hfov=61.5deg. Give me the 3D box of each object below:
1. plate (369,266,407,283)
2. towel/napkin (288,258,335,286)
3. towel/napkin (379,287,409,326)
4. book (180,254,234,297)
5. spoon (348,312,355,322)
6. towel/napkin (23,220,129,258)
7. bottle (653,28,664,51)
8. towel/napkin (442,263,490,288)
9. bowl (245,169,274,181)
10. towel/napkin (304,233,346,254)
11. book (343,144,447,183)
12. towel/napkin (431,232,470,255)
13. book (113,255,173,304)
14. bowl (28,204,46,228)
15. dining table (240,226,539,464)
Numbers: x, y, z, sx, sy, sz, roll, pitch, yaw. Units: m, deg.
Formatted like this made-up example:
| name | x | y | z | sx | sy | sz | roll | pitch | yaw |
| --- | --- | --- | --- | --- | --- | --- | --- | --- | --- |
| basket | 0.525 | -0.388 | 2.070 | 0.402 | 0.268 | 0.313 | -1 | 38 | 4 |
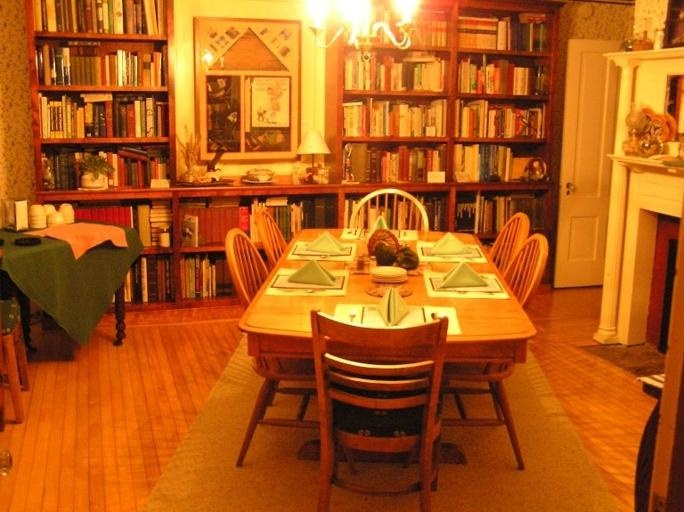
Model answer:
| name | x | y | z | sx | sy | sz | roll | pitch | yaw |
| --- | --- | --- | --- | --- | --- | --- | --- | --- | --- |
| plate | 0.239 | 0.092 | 2.843 | 0.111 | 0.030 | 0.105 | -7 | 17 | -29 |
| towel/napkin | -0.151 | 0.072 | 2.764 | 0.171 | 0.072 | 0.129 | -2 | 10 | 0 |
| towel/napkin | 0.216 | 0.194 | 2.346 | 0.093 | 0.135 | 0.179 | -1 | 15 | 23 |
| book | -1.182 | 0.191 | 4.968 | 0.366 | 0.439 | 0.469 | -4 | 14 | -13 |
| spoon | 0.041 | 0.246 | 2.314 | 0.027 | 0.026 | 0.027 | 0 | 8 | -5 |
| towel/napkin | -1.688 | -0.135 | 3.760 | 0.339 | 0.106 | 0.330 | -7 | 23 | -45 |
| bottle | 2.190 | -1.500 | 3.945 | 0.065 | 0.146 | 0.167 | 3 | 14 | 26 |
| towel/napkin | 0.587 | 0.074 | 2.791 | 0.135 | 0.068 | 0.157 | 1 | 13 | 4 |
| bowl | -0.719 | -0.710 | 5.018 | 0.249 | 0.113 | 0.271 | -2 | 11 | 0 |
| towel/napkin | -0.074 | -0.072 | 3.387 | 0.170 | 0.077 | 0.150 | -2 | 10 | -26 |
| book | 0.475 | -0.853 | 5.168 | 0.955 | 0.371 | 0.208 | -6 | 13 | -16 |
| towel/napkin | 0.632 | -0.095 | 3.405 | 0.166 | 0.073 | 0.157 | 0 | 9 | 1 |
| book | -1.622 | 0.198 | 4.872 | 0.399 | 0.484 | 0.509 | 3 | 3 | 3 |
| bowl | -2.064 | -0.267 | 3.877 | 0.138 | 0.155 | 0.156 | -1 | 8 | -21 |
| dining table | 0.217 | 0.288 | 2.522 | 1.034 | 0.503 | 1.440 | 1 | 20 | 6 |
